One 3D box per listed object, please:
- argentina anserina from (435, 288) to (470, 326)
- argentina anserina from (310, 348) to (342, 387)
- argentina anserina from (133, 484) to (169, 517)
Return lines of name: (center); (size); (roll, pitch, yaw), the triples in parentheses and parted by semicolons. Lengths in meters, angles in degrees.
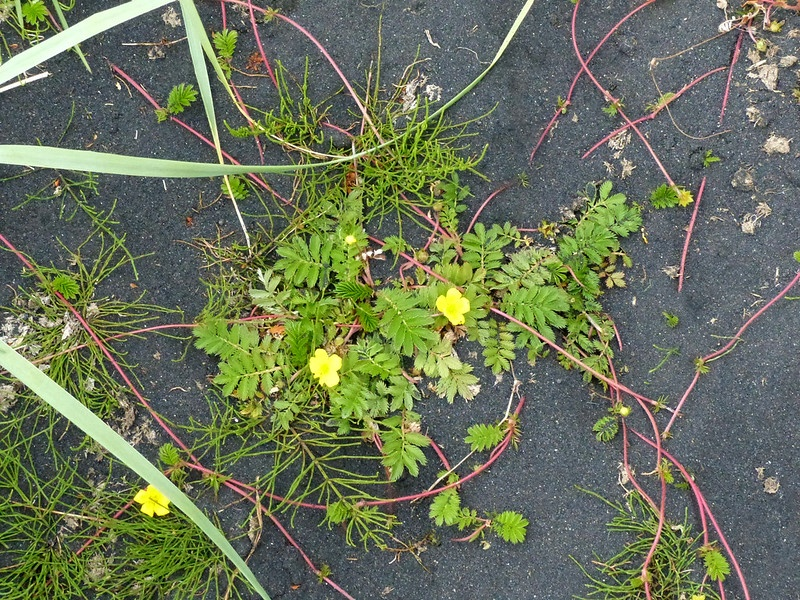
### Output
argentina anserina: (0.288, 0.036, 3.895); (0.189, 0.239, 0.160); (32, 83, 5)
argentina anserina: (-0.405, 0.364, 3.879); (0.182, 0.251, 0.187); (9, 81, 2)
argentina anserina: (-1.335, 1.085, 3.910); (0.139, 0.112, 0.188); (-40, 83, -5)
